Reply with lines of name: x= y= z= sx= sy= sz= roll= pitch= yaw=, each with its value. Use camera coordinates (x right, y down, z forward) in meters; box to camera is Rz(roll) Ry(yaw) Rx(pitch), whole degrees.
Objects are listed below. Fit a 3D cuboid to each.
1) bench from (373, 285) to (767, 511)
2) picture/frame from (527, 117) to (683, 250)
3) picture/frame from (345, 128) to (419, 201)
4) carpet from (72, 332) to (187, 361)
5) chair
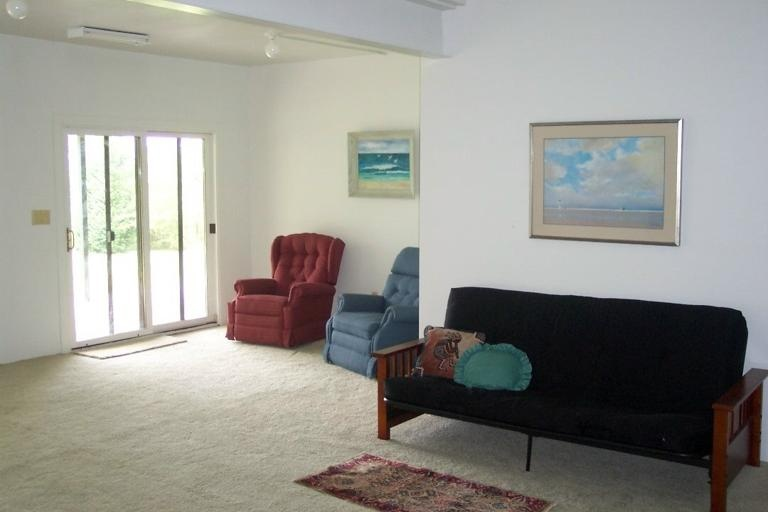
bench: x=1.508 y=0.942 z=4.304 sx=2.488 sy=1.181 sz=1.207 roll=5 pitch=11 yaw=28
picture/frame: x=1.853 y=-0.612 z=4.576 sx=1.157 sy=0.935 sz=0.053 roll=2 pitch=6 yaw=26
picture/frame: x=0.011 y=-1.183 z=7.121 sx=1.044 sy=0.865 sz=0.108 roll=4 pitch=10 yaw=22
carpet: x=-3.116 y=1.114 z=6.960 sx=1.235 sy=0.025 sz=0.632 roll=-9 pitch=12 yaw=-42
chair: x=-0.707 y=0.479 z=6.833 sx=2.688 sy=1.340 sz=1.130 roll=7 pitch=12 yaw=35
